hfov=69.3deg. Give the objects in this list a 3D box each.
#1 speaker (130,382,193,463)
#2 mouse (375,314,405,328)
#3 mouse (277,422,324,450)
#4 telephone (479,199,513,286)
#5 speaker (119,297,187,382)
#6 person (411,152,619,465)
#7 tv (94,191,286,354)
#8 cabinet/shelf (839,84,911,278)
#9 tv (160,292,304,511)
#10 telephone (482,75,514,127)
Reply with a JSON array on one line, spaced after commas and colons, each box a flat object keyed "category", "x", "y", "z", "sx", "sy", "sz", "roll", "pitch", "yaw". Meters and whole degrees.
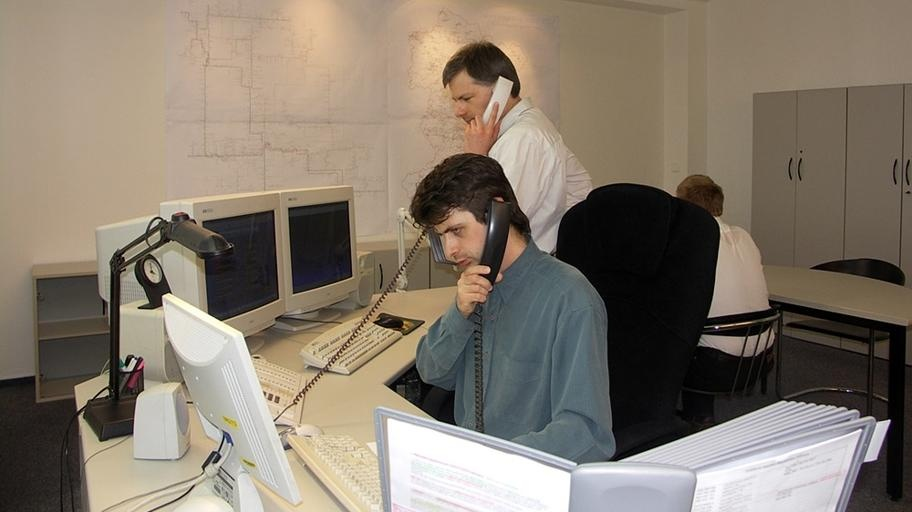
[{"category": "speaker", "x": -1.513, "y": 0.878, "z": 3.632, "sx": 0.366, "sy": 0.473, "sz": 0.351, "roll": 0, "pitch": 5, "yaw": -5}, {"category": "mouse", "x": -0.448, "y": 0.433, "z": 4.442, "sx": 0.130, "sy": 0.038, "sz": 0.093, "roll": 6, "pitch": 11, "yaw": 25}, {"category": "mouse", "x": -0.841, "y": 0.945, "z": 3.506, "sx": 0.137, "sy": 0.073, "sz": 0.192, "roll": -3, "pitch": 3, "yaw": -33}, {"category": "telephone", "x": 0.209, "y": -0.069, "z": 3.480, "sx": 0.167, "sy": 0.439, "sz": 0.064, "roll": -1, "pitch": 8, "yaw": -10}, {"category": "speaker", "x": -1.854, "y": 0.528, "z": 3.992, "sx": 0.383, "sy": 0.441, "sz": 0.403, "roll": -3, "pitch": 9, "yaw": -30}, {"category": "person", "x": 0.281, "y": 0.245, "z": 3.417, "sx": 1.105, "sy": 1.534, "sz": 0.493, "roll": 2, "pitch": 8, "yaw": 13}, {"category": "tv", "x": -1.609, "y": 0.023, "z": 4.349, "sx": 0.979, "sy": 0.860, "sz": 0.948, "roll": 4, "pitch": 11, "yaw": 23}, {"category": "cabinet/shelf", "x": 4.218, "y": -0.814, "z": 6.667, "sx": 0.566, "sy": 1.777, "sz": 0.185, "roll": 5, "pitch": 9, "yaw": 33}, {"category": "tv", "x": -1.081, "y": 0.677, "z": 3.138, "sx": 0.721, "sy": 0.931, "sz": 0.168, "roll": 4, "pitch": 9, "yaw": 31}, {"category": "telephone", "x": 0.276, "y": -1.007, "z": 4.277, "sx": 0.109, "sy": 0.365, "sz": 0.084, "roll": 14, "pitch": 17, "yaw": -9}]
